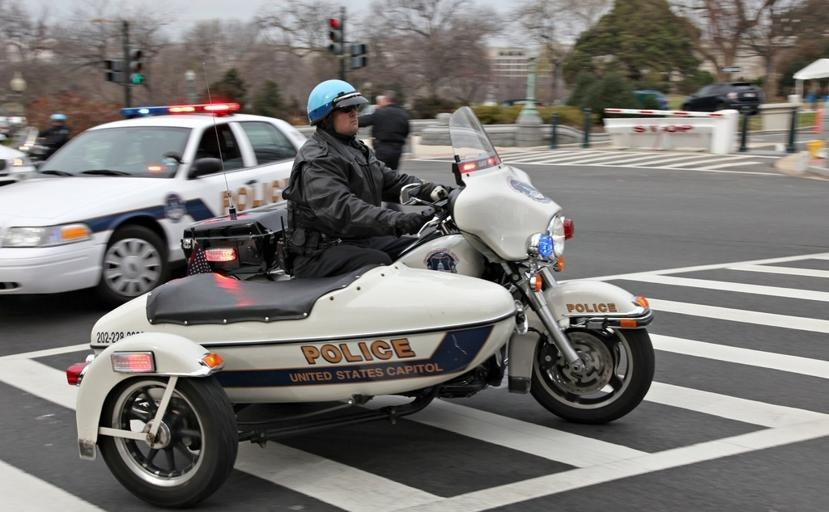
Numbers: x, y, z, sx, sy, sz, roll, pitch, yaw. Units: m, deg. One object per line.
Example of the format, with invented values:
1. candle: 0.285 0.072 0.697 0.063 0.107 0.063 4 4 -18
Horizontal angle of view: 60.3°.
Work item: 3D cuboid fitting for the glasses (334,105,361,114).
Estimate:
1. glasses: -0.546 -1.212 5.797 0.136 0.026 0.119 -2 -2 28
